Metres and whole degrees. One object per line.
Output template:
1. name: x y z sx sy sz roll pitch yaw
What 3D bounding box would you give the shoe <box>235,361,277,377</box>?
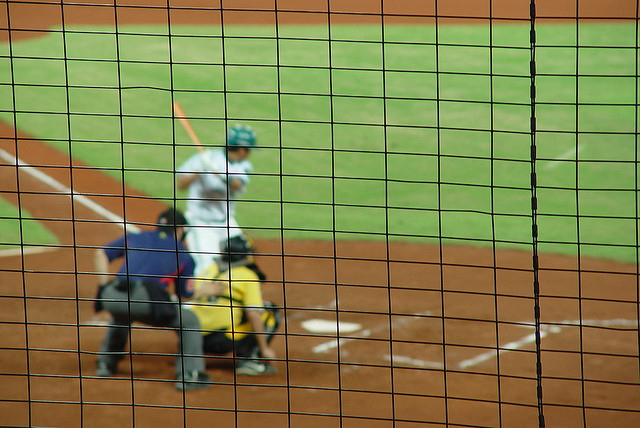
1. shoe: -0.785 1.956 17.835 0.538 0.208 0.164 -1 10 -4

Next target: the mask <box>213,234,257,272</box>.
1. mask: -0.993 0.470 17.804 0.439 0.491 0.202 0 -31 16

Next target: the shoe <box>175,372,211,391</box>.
1. shoe: -1.544 2.092 17.667 0.568 0.210 0.173 7 26 -6
